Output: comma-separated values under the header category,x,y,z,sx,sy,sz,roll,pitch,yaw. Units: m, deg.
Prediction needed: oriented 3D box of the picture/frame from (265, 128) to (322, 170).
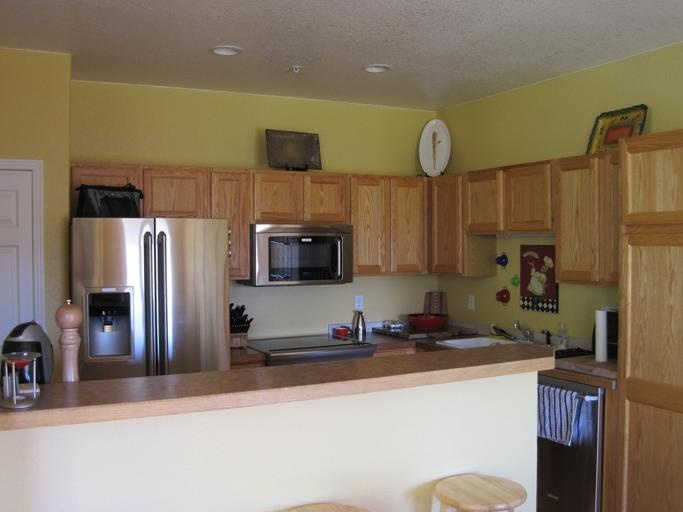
category,x,y,z,sx,sy,sz,roll,pitch,yaw
picture/frame,-0.432,-0.910,4.976,0.427,0.280,0.054,0,-5,-26

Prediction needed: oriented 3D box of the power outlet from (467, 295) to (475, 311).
category,x,y,z,sx,sy,sz,roll,pitch,yaw
power outlet,1.205,0.432,5.356,0.015,0.178,0.131,-5,9,-32

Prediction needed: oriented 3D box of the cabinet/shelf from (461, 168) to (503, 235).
category,x,y,z,sx,sy,sz,roll,pitch,yaw
cabinet/shelf,1.244,-0.450,4.852,0.418,0.490,0.429,-3,2,-37

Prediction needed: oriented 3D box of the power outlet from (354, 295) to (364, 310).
category,x,y,z,sx,sy,sz,roll,pitch,yaw
power outlet,0.172,0.438,5.420,0.113,0.146,0.051,-3,15,-27

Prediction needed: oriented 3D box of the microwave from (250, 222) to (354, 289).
category,x,y,z,sx,sy,sz,roll,pitch,yaw
microwave,-0.323,0.007,4.749,0.839,0.496,0.496,0,-1,-26

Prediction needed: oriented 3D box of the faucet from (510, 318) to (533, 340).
category,x,y,z,sx,sy,sz,roll,pitch,yaw
faucet,1.502,0.629,4.814,0.143,0.182,0.118,2,-3,-7

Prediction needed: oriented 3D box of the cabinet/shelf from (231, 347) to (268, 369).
category,x,y,z,sx,sy,sz,roll,pitch,yaw
cabinet/shelf,-0.740,0.786,4.471,0.221,0.207,0.143,0,1,-25

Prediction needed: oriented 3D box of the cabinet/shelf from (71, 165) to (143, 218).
category,x,y,z,sx,sy,sz,roll,pitch,yaw
cabinet/shelf,-1.722,-0.462,4.166,0.409,0.369,0.140,1,-6,-29

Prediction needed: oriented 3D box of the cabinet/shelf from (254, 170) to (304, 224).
category,x,y,z,sx,sy,sz,roll,pitch,yaw
cabinet/shelf,-0.568,-0.479,4.863,0.465,0.430,0.291,-2,3,-29

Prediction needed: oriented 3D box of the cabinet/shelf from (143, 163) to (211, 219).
category,x,y,z,sx,sy,sz,roll,pitch,yaw
cabinet/shelf,-1.272,-0.488,4.582,0.559,0.452,0.305,1,7,3

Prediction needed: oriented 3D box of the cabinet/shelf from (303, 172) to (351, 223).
category,x,y,z,sx,sy,sz,roll,pitch,yaw
cabinet/shelf,-0.129,-0.489,5.022,0.465,0.437,0.254,0,-2,-1

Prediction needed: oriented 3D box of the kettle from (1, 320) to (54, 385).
category,x,y,z,sx,sy,sz,roll,pitch,yaw
kettle,-1.299,0.424,2.355,0.168,0.276,0.266,0,14,-16
